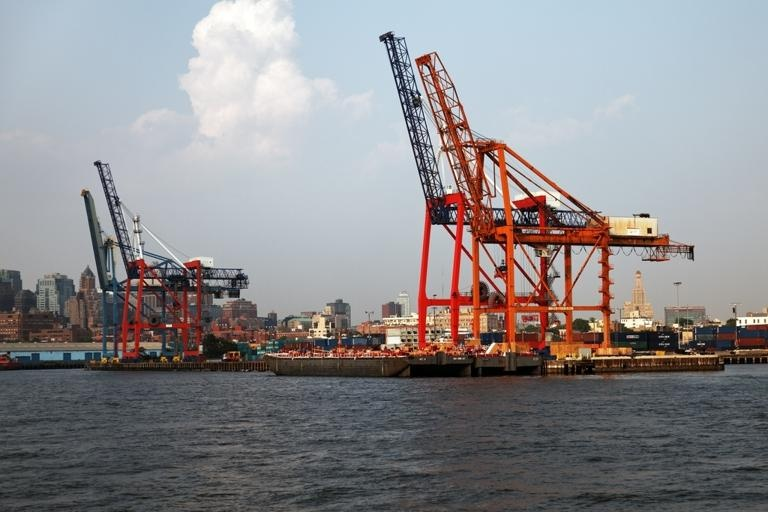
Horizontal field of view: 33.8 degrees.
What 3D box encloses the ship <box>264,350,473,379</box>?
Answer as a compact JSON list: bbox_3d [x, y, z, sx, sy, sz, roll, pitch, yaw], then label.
[{"bbox_3d":[-2.299,10.758,124.159,26.018,2.878,3.452,-2,-1,45],"label":"ship"}]
